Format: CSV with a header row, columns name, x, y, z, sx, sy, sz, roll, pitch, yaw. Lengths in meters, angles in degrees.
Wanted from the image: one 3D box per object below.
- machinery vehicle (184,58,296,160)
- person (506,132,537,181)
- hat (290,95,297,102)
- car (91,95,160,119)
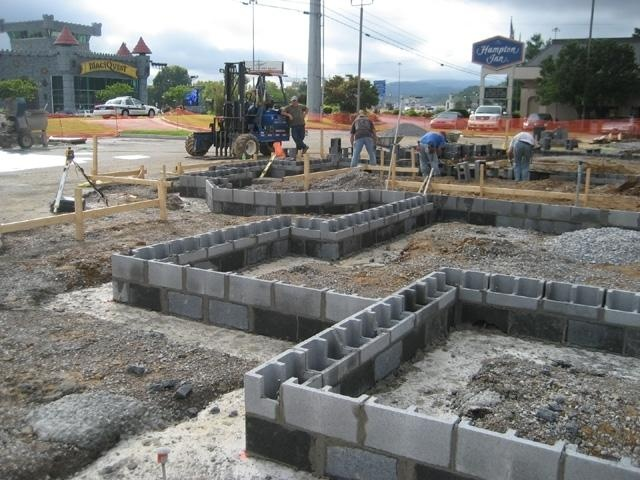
name,x,y,z,sx,sy,sz,roll,pitch,yaw
machinery vehicle,-2.680,-4.488,18.365,3.085,2.945,3.238,11,19,22
person,5.234,-2.192,13.850,0.572,1.276,1.340,5,15,20
hat,-0.828,-4.646,17.321,0.287,0.149,0.425,0,17,3
car,-14.388,-9.947,39.593,1.954,1.399,4.466,3,13,16
